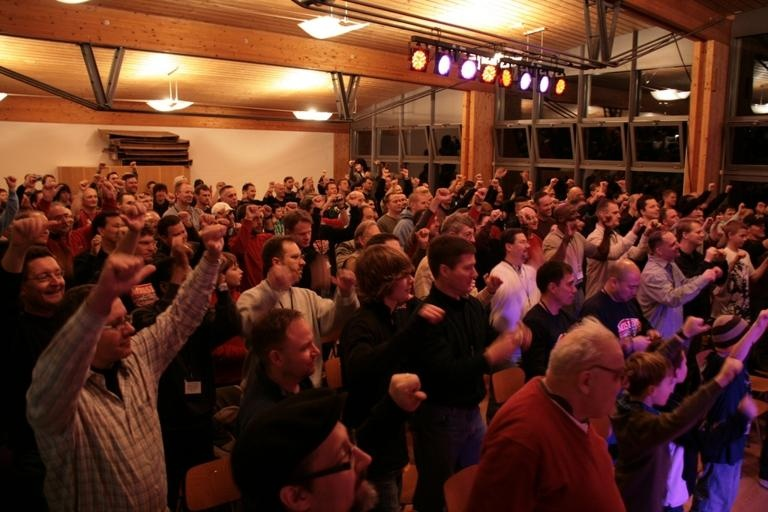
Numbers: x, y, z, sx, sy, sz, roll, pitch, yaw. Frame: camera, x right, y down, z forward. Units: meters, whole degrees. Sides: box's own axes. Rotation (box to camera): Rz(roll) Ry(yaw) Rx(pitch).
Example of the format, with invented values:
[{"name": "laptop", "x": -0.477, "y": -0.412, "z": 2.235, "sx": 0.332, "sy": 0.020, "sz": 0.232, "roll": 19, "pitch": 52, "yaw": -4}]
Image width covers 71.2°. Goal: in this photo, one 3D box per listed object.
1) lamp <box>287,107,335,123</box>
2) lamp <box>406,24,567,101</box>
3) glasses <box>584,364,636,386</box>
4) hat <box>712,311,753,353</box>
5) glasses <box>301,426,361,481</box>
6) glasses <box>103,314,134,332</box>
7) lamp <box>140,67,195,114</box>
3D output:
[{"name": "lamp", "x": -1.816, "y": -3.697, "z": 13.919, "sx": 0.876, "sy": 0.355, "sz": 3.456, "roll": -2, "pitch": 9, "yaw": -6}, {"name": "lamp", "x": 1.652, "y": -3.102, "z": 8.885, "sx": 3.271, "sy": 0.709, "sz": 0.703, "roll": -7, "pitch": 11, "yaw": -33}, {"name": "glasses", "x": 1.009, "y": 0.511, "z": 2.385, "sx": 0.138, "sy": 0.040, "sz": 0.135, "roll": 4, "pitch": -4, "yaw": 15}, {"name": "hat", "x": 2.488, "y": 0.557, "z": 3.915, "sx": 0.269, "sy": 0.259, "sz": 0.249, "roll": -3, "pitch": 17, "yaw": 25}, {"name": "glasses", "x": -0.204, "y": 0.706, "z": 1.907, "sx": 0.156, "sy": 0.048, "sz": 0.151, "roll": -16, "pitch": 8, "yaw": -7}, {"name": "glasses", "x": -1.241, "y": 0.330, "z": 2.504, "sx": 0.108, "sy": 0.033, "sz": 0.106, "roll": -10, "pitch": 7, "yaw": 11}, {"name": "lamp", "x": -4.605, "y": -3.745, "z": 11.850, "sx": 0.572, "sy": 0.576, "sz": 0.568, "roll": 5, "pitch": 31, "yaw": 9}]
